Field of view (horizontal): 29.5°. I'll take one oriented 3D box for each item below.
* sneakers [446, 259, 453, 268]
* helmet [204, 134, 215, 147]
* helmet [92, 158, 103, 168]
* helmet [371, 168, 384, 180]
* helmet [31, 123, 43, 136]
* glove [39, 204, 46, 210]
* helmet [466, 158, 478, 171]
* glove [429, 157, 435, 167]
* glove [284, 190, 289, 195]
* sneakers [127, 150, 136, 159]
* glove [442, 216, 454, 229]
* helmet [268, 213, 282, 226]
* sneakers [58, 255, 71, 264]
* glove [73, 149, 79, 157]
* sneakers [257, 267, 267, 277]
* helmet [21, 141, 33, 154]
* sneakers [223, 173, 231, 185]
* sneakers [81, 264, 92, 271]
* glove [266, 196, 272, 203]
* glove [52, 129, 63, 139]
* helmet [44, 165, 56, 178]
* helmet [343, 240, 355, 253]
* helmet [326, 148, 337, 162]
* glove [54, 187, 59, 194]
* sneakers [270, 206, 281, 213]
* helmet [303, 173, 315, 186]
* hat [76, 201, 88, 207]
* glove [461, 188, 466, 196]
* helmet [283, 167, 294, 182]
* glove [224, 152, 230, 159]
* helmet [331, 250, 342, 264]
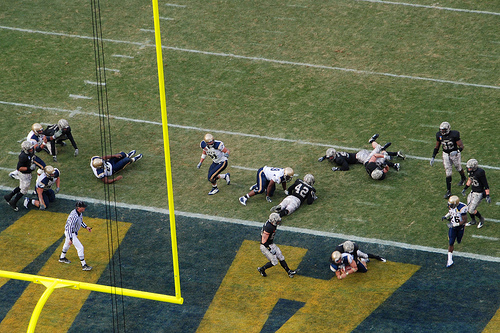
[{"bbox_3d":[5.416,2.627,25.676,0.115,0.086,0.239,6,48,10],"label":"sneakers"},{"bbox_3d":[-1.156,-0.744,27.497,0.324,0.251,0.319,31,-11,26],"label":"helmet"},{"bbox_3d":[-4.412,-0.110,27.779,0.336,0.204,0.255,-8,-4,34],"label":"helmet"},{"bbox_3d":[3.757,0.217,27.780,0.338,0.135,0.388,25,-18,-25],"label":"helmet"},{"bbox_3d":[-6.238,-1.127,28.298,0.382,0.314,0.275,17,32,-18],"label":"helmet"},{"bbox_3d":[-5.910,1.172,27.217,0.153,0.065,0.180,7,-16,-10],"label":"glove"},{"bbox_3d":[6.173,-0.042,26.354,0.291,0.359,0.358,12,27,10],"label":"helmet"},{"bbox_3d":[5.405,-0.154,28.215,0.120,0.204,0.182,12,-4,1],"label":"glove"},{"bbox_3d":[1.074,0.755,27.591,0.156,0.156,0.409,-8,-5,-3],"label":"glove"},{"bbox_3d":[-3.489,-0.376,28.621,0.368,0.113,0.151,-31,10,-5],"label":"sneakers"},{"bbox_3d":[5.439,1.534,25.959,0.159,0.324,0.266,-15,0,0],"label":"glove"},{"bbox_3d":[0.677,1.391,25.184,0.315,0.406,0.340,8,27,3],"label":"helmet"},{"bbox_3d":[-4.999,2.544,26.015,0.439,0.170,0.139,10,21,-5],"label":"sneakers"},{"bbox_3d":[-5.257,-0.426,29.022,0.187,0.163,0.192,1,5,-1],"label":"glove"},{"bbox_3d":[0.359,2.788,25.630,0.266,0.330,0.177,8,28,1],"label":"sneakers"},{"bbox_3d":[-6.319,-0.571,27.121,0.300,0.339,0.344,-1,28,-15],"label":"helmet"},{"bbox_3d":[-0.714,0.367,28.052,0.147,0.332,0.266,-11,4,-3],"label":"sneakers"},{"bbox_3d":[-4.402,2.752,25.817,0.337,0.133,0.114,4,42,11],"label":"sneakers"},{"bbox_3d":[0.565,0.947,27.531,0.125,0.100,0.207,-22,69,-14],"label":"glove"},{"bbox_3d":[-5.790,-0.986,28.671,0.322,0.145,0.101,-26,15,-33],"label":"glove"},{"bbox_3d":[-5.608,0.157,26.876,0.375,0.242,0.274,31,-13,-9],"label":"helmet"},{"bbox_3d":[2.641,2.139,25.347,0.324,0.314,0.252,8,27,3],"label":"helmet"},{"bbox_3d":[2.426,-0.361,28.315,0.342,0.341,0.369,-2,-26,6],"label":"helmet"},{"bbox_3d":[-5.623,0.714,27.743,0.148,0.169,0.069,22,7,25],"label":"glove"},{"bbox_3d":[0.763,1.223,27.121,0.303,0.119,0.175,-1,-7,21],"label":"sneakers"},{"bbox_3d":[1.717,0.358,27.378,0.322,0.336,0.359,2,41,15],"label":"helmet"},{"bbox_3d":[-4.517,1.062,25.576,0.326,0.152,0.193,-8,36,-14],"label":"hat"},{"bbox_3d":[6.157,0.739,27.388,0.143,0.175,0.088,32,-1,20],"label":"glove"},{"bbox_3d":[1.098,0.239,27.122,0.251,0.426,0.214,5,28,-3],"label":"helmet"},{"bbox_3d":[-0.658,-0.330,27.638,0.148,0.126,0.164,1,-9,-3],"label":"glove"},{"bbox_3d":[2.334,2.392,25.171,0.302,0.315,0.325,-5,58,24],"label":"helmet"}]
